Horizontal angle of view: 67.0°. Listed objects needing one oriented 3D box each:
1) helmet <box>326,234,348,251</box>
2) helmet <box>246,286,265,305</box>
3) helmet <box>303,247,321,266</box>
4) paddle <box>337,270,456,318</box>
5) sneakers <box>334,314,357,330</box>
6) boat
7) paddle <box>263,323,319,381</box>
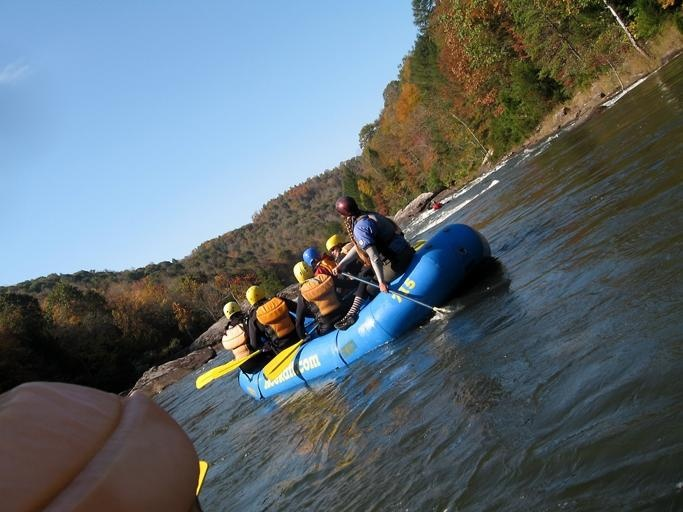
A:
[{"bbox_3d":[-0.153,-0.244,11.431,0.385,0.344,0.306,-18,8,34],"label":"helmet"},{"bbox_3d":[-1.806,0.796,10.660,0.321,0.401,0.437,-24,9,-22],"label":"helmet"},{"bbox_3d":[-0.716,0.103,11.977,0.310,0.453,0.446,-5,-39,-7],"label":"helmet"},{"bbox_3d":[1.007,0.687,8.933,0.174,1.977,0.307,-30,-41,-63],"label":"paddle"},{"bbox_3d":[0.082,1.250,9.503,0.484,0.233,0.177,-26,14,30],"label":"sneakers"},{"bbox_3d":[0.356,1.337,9.548,4.552,1.086,2.363,-41,1,26],"label":"boat"},{"bbox_3d":[-0.944,1.894,10.357,1.641,0.454,0.245,-44,-23,4],"label":"paddle"}]
